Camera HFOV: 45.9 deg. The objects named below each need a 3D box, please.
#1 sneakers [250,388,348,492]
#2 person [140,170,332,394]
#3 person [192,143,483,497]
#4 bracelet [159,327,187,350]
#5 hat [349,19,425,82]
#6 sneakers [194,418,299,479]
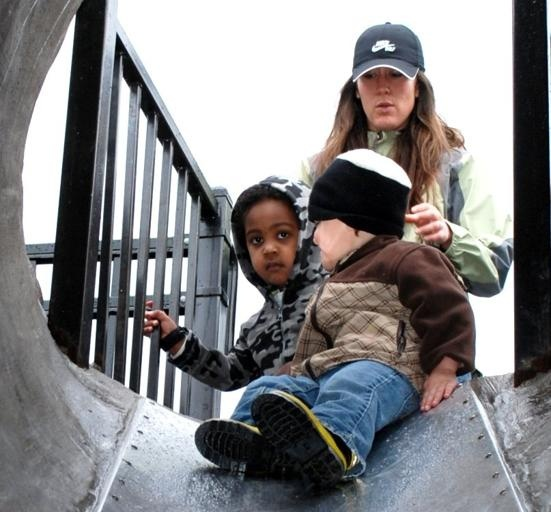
[{"bbox_3d":[0.050,0.367,1.364,0.121,0.241,0.111,-44,-12,14],"label":"sneakers"},{"bbox_3d":[-0.142,0.108,2.387,0.378,0.682,0.689,16,-28,-35],"label":"person"},{"bbox_3d":[0.190,0.071,1.635,0.576,0.915,0.657,-4,-13,22],"label":"person"},{"bbox_3d":[-0.403,0.310,2.561,0.095,0.051,0.073,-41,6,-13],"label":"bracelet"},{"bbox_3d":[0.444,-0.806,2.581,0.267,0.250,0.437,2,11,12],"label":"hat"},{"bbox_3d":[-0.074,0.398,1.445,0.230,0.106,0.121,20,7,12],"label":"sneakers"}]
